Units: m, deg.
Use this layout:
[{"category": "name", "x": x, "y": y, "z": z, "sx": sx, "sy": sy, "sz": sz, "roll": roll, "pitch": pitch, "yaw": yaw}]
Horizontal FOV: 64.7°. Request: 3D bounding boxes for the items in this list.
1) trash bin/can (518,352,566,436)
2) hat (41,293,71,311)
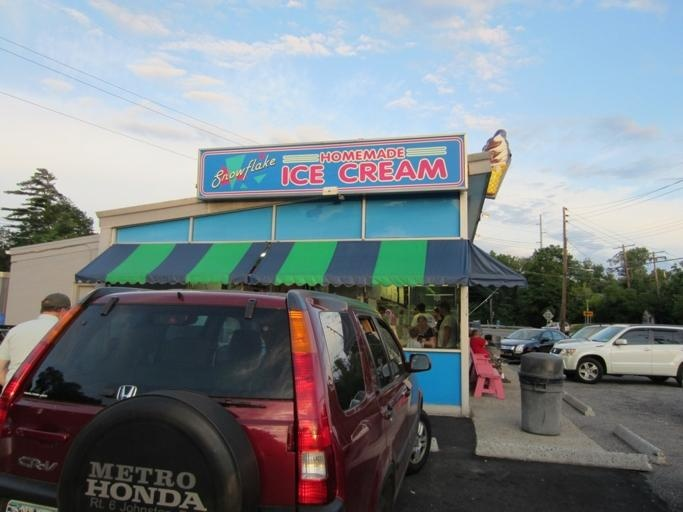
[{"category": "trash bin/can", "x": 3.238, "y": 2.232, "z": 8.895, "sx": 0.808, "sy": 1.243, "sz": 0.828, "roll": 0, "pitch": -2, "yaw": 31}, {"category": "hat", "x": -3.139, "y": 0.505, "z": 5.993, "sx": 0.213, "sy": 0.152, "sz": 0.270, "roll": 0, "pitch": 3, "yaw": 9}]
